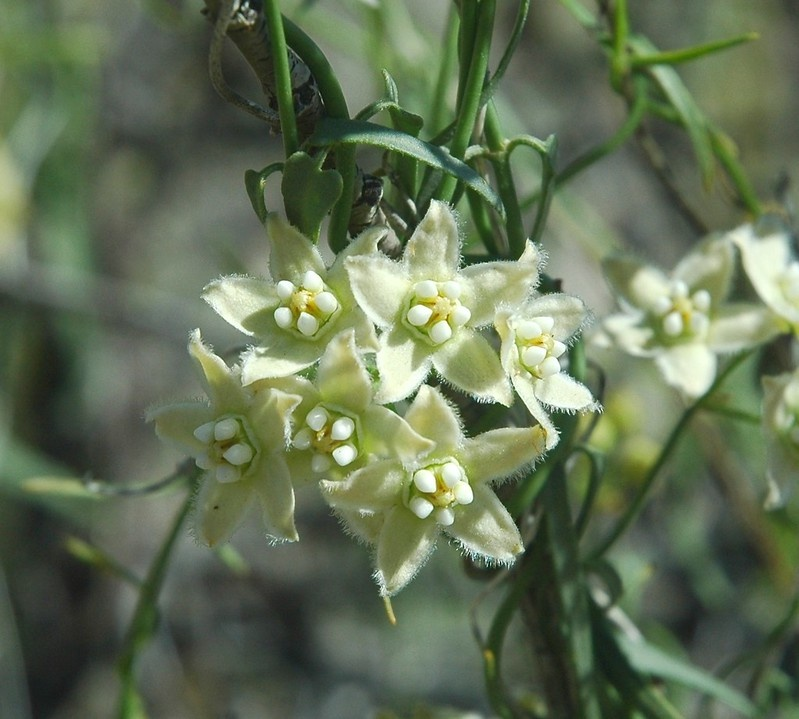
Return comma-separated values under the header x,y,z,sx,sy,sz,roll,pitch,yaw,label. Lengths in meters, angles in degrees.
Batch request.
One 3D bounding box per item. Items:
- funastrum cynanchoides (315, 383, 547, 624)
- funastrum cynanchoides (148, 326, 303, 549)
x,y,z,sx,sy,sz,roll,pitch,yaw,label
0.037,0.129,1.129,0.186,0.225,0.102,14,-60,5,funastrum cynanchoides
-0.151,0.079,1.139,0.147,0.077,0.215,-13,-76,21,funastrum cynanchoides
